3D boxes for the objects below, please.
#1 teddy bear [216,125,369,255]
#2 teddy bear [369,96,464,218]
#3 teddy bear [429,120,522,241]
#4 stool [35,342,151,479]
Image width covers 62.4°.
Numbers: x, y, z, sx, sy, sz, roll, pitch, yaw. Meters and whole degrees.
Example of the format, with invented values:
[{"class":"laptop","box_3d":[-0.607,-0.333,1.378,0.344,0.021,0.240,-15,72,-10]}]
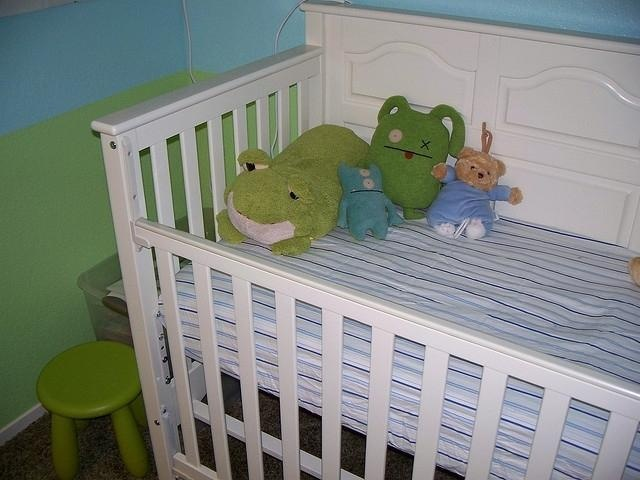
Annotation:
[{"class":"teddy bear","box_3d":[-0.057,-0.184,1.775,0.331,0.230,0.503,22,48,19]},{"class":"teddy bear","box_3d":[0.350,-0.278,1.862,0.357,0.441,0.207,12,3,25]},{"class":"teddy bear","box_3d":[0.559,-0.198,1.847,0.305,0.400,0.210,15,22,23]},{"class":"stool","box_3d":[-0.783,0.530,1.947,0.411,0.449,0.435,-4,42,-14]}]
